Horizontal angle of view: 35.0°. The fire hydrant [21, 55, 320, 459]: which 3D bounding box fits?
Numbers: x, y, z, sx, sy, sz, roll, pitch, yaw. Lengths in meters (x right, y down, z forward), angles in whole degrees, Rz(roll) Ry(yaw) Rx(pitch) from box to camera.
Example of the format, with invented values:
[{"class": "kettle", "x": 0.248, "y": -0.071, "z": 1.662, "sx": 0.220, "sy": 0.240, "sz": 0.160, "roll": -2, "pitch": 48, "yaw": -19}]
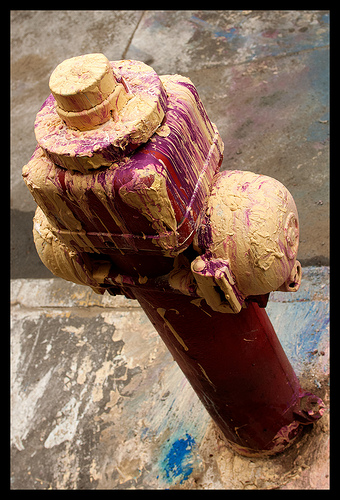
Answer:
[{"class": "fire hydrant", "x": 0.148, "y": 0.208, "z": 2.039, "sx": 0.687, "sy": 1.999, "sz": 0.750, "roll": -38, "pitch": 51, "yaw": -8}]
